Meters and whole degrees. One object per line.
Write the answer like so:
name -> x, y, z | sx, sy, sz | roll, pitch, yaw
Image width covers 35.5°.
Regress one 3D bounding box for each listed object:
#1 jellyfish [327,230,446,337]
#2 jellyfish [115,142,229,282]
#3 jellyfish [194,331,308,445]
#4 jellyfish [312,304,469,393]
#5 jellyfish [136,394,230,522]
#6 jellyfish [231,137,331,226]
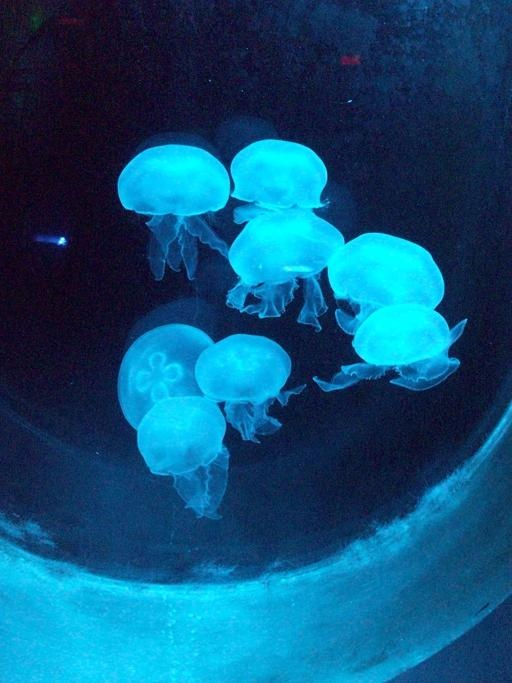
jellyfish -> 0.741, -0.367, 4.539 | 0.517, 0.558, 0.575 | -2, 23, 4
jellyfish -> -0.479, -0.722, 4.430 | 0.771, 0.864, 0.535 | 1, 8, 12
jellyfish -> -0.055, 0.175, 4.647 | 0.604, 0.589, 0.625 | -18, 24, -32
jellyfish -> 0.728, 0.037, 4.353 | 0.689, 0.467, 0.585 | -9, 20, -13
jellyfish -> -0.358, 0.632, 4.468 | 0.547, 0.630, 0.451 | -10, 23, -10
jellyfish -> 0.135, -0.870, 4.366 | 0.513, 0.439, 0.177 | -3, 23, -1
